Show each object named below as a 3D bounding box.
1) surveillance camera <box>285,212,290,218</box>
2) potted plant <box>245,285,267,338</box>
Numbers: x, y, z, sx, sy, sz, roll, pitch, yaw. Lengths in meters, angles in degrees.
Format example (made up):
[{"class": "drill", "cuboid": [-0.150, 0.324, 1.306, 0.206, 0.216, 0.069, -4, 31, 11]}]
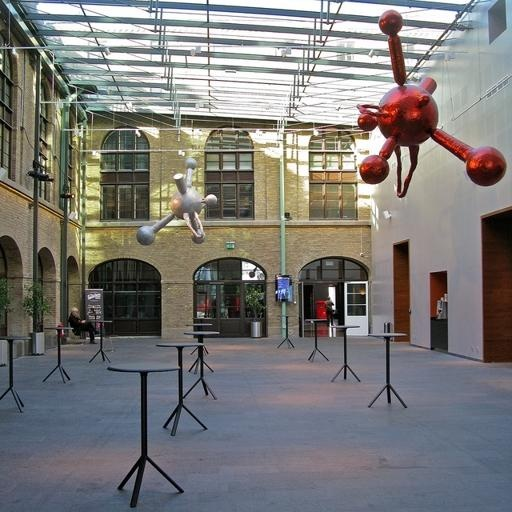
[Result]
[{"class": "surveillance camera", "cuboid": [1.237, -1.547, 25.897, 0.232, 0.223, 0.172, -3, -5, 45]}, {"class": "potted plant", "cuboid": [-0.017, 2.052, 25.764, 0.762, 2.053, 0.362, 0, -6, -7]}]
